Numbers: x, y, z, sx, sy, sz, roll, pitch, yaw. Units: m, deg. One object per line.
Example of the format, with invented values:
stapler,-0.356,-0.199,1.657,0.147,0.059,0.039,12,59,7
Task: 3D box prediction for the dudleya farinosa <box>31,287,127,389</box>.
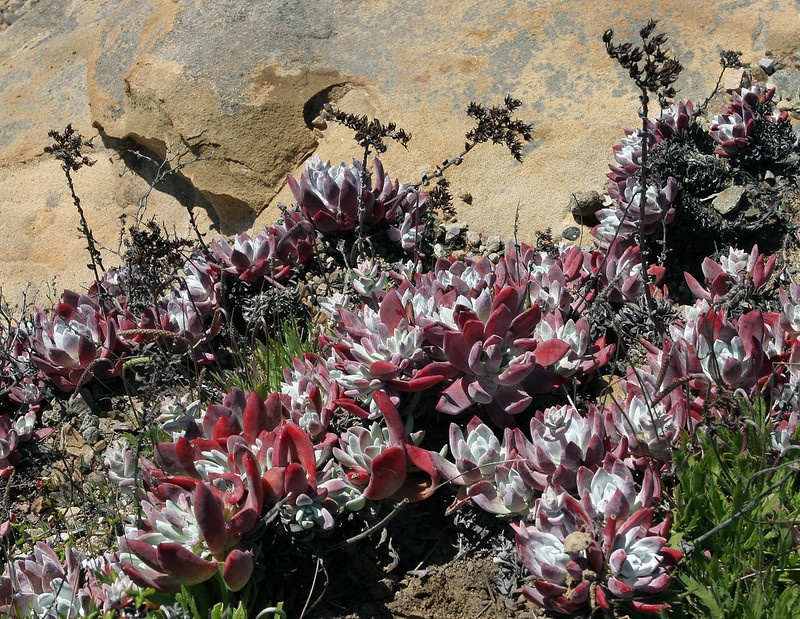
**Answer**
dudleya farinosa,-2.365,0.275,8.260,0.530,0.311,0.733,-19,13,0
